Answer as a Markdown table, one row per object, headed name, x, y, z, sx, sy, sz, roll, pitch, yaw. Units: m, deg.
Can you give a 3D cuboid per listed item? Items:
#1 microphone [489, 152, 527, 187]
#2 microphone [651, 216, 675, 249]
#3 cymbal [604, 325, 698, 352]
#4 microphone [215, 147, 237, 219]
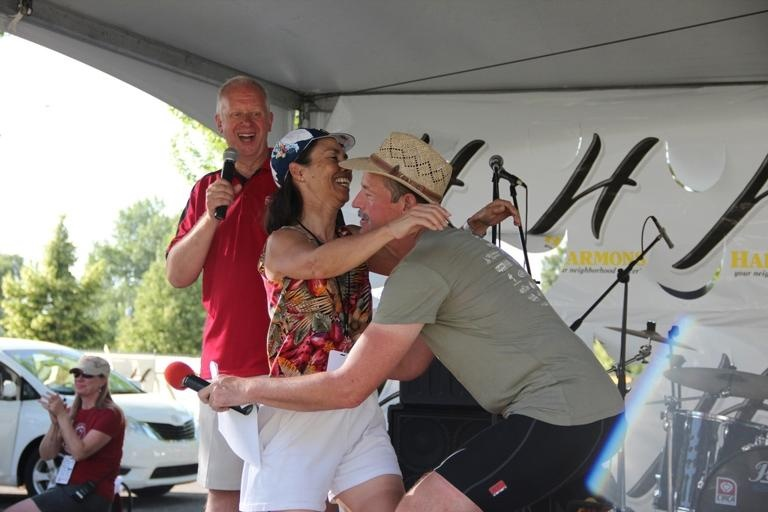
| name | x | y | z | sx | sy | sz | roll | pitch | yaw |
| --- | --- | --- | --- | --- | --- | --- | --- | --- | --- |
| microphone | 1.055 | -0.728 | 7.628 | 0.356 | 0.144 | 0.164 | 34 | 34 | 15 |
| microphone | 2.295 | -0.189 | 7.381 | 0.105 | 0.271 | 0.038 | -36 | -3 | -19 |
| cymbal | 2.190 | 0.665 | 7.404 | 0.582 | 0.200 | 0.476 | 0 | 2 | 21 |
| microphone | -1.063 | -0.491 | 6.076 | 0.118 | 0.473 | 0.119 | 17 | -16 | -43 |
